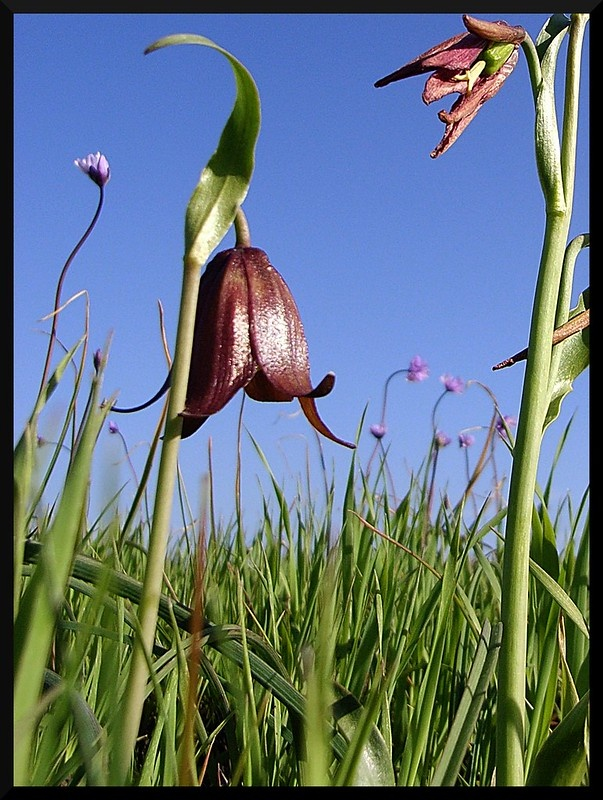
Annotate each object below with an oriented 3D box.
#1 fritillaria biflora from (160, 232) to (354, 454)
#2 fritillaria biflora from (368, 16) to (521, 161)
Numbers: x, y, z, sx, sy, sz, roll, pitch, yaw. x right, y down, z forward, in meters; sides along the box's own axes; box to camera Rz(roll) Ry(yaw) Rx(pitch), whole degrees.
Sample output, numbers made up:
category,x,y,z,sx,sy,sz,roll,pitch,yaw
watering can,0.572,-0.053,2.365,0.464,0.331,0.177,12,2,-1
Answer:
category,x,y,z,sx,sy,sz,roll,pitch,yaw
fritillaria biflora,-0.040,-0.048,0.593,0.109,0.212,0.145,0,-10,3
fritillaria biflora,0.122,-0.253,0.573,0.123,0.121,0.053,12,-22,-11
